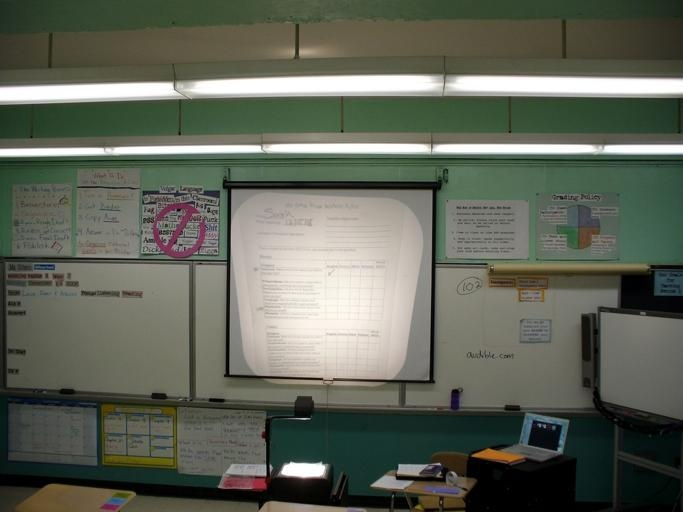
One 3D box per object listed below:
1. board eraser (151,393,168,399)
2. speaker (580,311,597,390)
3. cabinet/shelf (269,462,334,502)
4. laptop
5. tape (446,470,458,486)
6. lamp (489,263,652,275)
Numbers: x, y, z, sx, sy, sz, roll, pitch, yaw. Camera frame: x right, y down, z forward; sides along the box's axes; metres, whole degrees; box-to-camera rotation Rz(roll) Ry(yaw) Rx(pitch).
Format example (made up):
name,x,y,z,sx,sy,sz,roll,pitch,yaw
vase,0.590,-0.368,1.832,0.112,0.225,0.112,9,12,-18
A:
name,x,y,z,sx,sy,sz,roll,pitch,yaw
board eraser,-1.847,1.433,7.326,0.091,0.072,0.031,3,-10,-2
speaker,2.407,0.935,7.031,0.087,0.738,0.143,1,-1,-29
cabinet/shelf,-0.337,1.929,6.103,0.521,0.275,0.269,1,0,2
laptop,1.829,1.673,6.614,0.422,0.446,0.292,7,-13,45
tape,0.962,1.956,6.324,0.078,0.116,0.037,1,-17,-2
lamp,2.243,0.133,7.083,1.584,0.122,0.083,1,0,3
